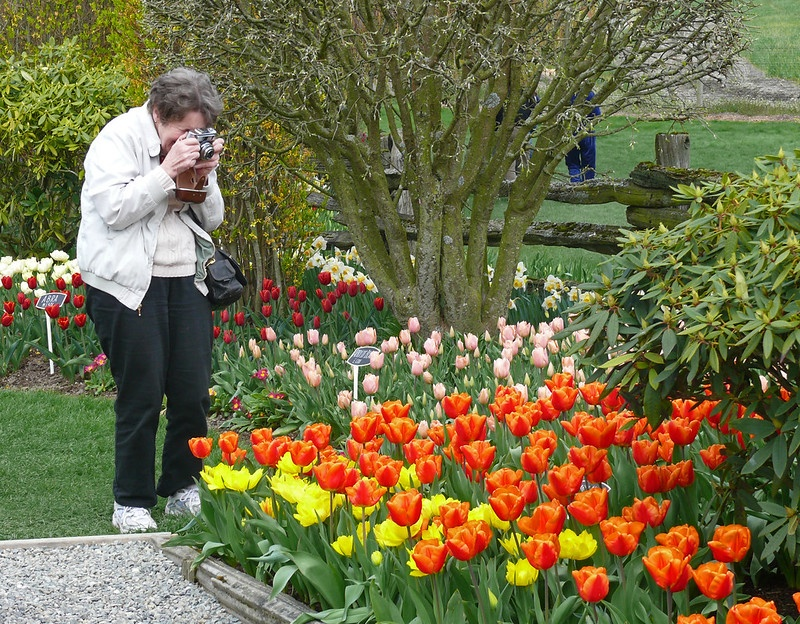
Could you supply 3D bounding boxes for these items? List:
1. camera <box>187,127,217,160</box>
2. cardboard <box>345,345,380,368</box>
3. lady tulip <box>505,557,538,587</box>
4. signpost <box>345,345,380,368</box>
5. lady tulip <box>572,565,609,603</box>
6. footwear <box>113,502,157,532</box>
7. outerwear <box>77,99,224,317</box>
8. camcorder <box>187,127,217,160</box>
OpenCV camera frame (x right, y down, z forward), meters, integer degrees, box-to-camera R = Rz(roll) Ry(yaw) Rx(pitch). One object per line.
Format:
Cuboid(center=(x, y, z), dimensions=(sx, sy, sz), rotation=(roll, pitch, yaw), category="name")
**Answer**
Cuboid(center=(-0.942, -0.835, 3.725), dimensions=(0.125, 0.133, 0.131), rotation=(-7, -24, -21), category="camera")
Cuboid(center=(-0.223, 0.278, 4.726), dimensions=(0.172, 0.030, 0.247), rotation=(20, 29, 5), category="cardboard")
Cuboid(center=(0.381, 0.832, 2.463), dimensions=(0.090, 0.122, 0.065), rotation=(-1, 9, 2), category="lady tulip")
Cuboid(center=(-0.223, 0.278, 4.726), dimensions=(0.172, 0.030, 0.247), rotation=(20, 29, 5), category="signpost")
Cuboid(center=(0.535, 0.761, 2.190), dimensions=(0.100, 0.121, 0.107), rotation=(0, 11, 18), category="lady tulip")
Cuboid(center=(-1.334, 1.039, 3.955), dimensions=(0.218, 0.112, 0.110), rotation=(-1, 1, 29), category="footwear")
Cuboid(center=(-1.303, -0.507, 3.729), dimensions=(0.452, 0.974, 0.322), rotation=(-5, 10, -23), category="outerwear")
Cuboid(center=(-0.944, -0.822, 3.730), dimensions=(0.125, 0.133, 0.131), rotation=(-7, -24, -21), category="camcorder")
